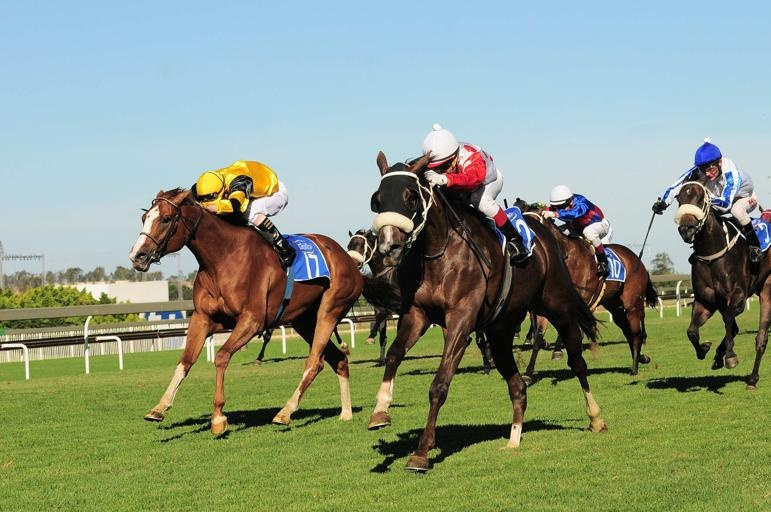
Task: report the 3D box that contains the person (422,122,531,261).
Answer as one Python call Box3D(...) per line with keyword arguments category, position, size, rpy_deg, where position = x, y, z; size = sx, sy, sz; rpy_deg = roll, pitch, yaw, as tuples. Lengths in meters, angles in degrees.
Box3D(category="person", position=(0.947, -0.706, 9.499), size=(1.160, 1.359, 1.655), rpy_deg=(5, 3, 34))

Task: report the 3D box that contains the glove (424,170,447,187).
Box3D(category="glove", position=(0.509, -0.795, 8.803), size=(0.195, 0.093, 0.144), rpy_deg=(28, 14, 40))

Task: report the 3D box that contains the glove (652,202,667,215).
Box3D(category="glove", position=(3.808, -0.690, 11.933), size=(0.133, 0.182, 0.198), rpy_deg=(-3, 0, -18))

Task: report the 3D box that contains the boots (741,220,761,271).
Box3D(category="boots", position=(5.147, -0.158, 12.107), size=(0.178, 0.803, 0.423), rpy_deg=(-5, -5, 30))

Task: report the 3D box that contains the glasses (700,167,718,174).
Box3D(category="glasses", position=(4.503, -1.188, 11.872), size=(0.167, 0.090, 0.129), rpy_deg=(-13, 12, -37))

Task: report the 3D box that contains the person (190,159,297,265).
Box3D(category="person", position=(-1.861, -0.643, 11.274), size=(1.244, 1.208, 1.750), rpy_deg=(9, 11, 37))

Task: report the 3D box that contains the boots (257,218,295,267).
Box3D(category="boots", position=(-1.400, -0.113, 10.565), size=(0.341, 0.502, 0.171), rpy_deg=(-34, 6, 36))

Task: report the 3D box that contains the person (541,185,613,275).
Box3D(category="person", position=(3.166, -0.388, 14.136), size=(1.839, 1.285, 0.850), rpy_deg=(6, -3, -39))
